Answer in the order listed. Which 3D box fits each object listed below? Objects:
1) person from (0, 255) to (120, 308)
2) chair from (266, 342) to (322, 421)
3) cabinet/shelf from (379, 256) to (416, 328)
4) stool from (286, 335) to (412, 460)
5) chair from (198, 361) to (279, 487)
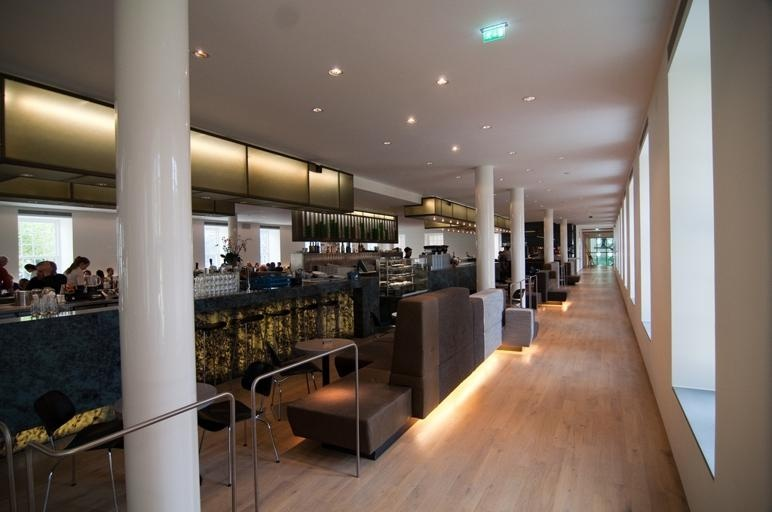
[{"bbox_3d":[-4.766,0.432,7.521,1.467,0.501,1.119,1,0,1],"label":"person"},{"bbox_3d":[-1.177,1.539,6.691,0.589,0.908,0.551,-1,2,-16],"label":"chair"},{"bbox_3d":[0.361,0.800,11.315,0.474,1.602,0.898,2,2,30],"label":"cabinet/shelf"},{"bbox_3d":[-0.392,1.680,5.621,0.733,0.353,1.180,1,0,24],"label":"stool"},{"bbox_3d":[-1.608,1.683,5.537,0.709,1.016,0.638,2,0,-43],"label":"chair"}]
